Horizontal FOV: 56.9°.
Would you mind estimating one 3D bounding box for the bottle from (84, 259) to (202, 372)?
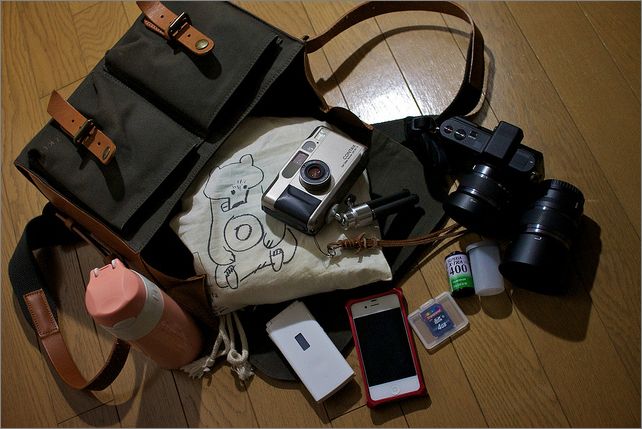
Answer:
[{"bbox_3d":[-0.510,0.302,1.731,0.152,0.383,0.201,-22,50,6],"label":"bottle"}]

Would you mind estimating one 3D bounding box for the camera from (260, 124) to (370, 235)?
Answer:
[{"bbox_3d":[-0.029,-0.094,1.729,0.213,0.124,0.358,30,75,11],"label":"camera"}]
